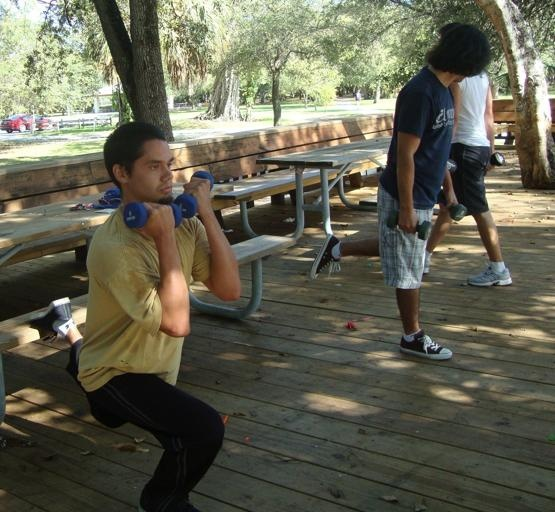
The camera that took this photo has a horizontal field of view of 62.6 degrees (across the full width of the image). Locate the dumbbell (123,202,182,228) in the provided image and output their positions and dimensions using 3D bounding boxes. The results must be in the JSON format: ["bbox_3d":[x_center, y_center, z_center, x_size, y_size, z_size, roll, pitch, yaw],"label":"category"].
[{"bbox_3d":[-0.350,-0.120,1.298,0.091,0.083,0.183,7,19,35],"label":"dumbbell"}]

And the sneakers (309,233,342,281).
[{"bbox_3d":[0.416,0.015,4.107,0.318,0.371,0.110,0,35,-29],"label":"sneakers"}]

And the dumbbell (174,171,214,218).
[{"bbox_3d":[-0.287,-0.185,1.519,0.165,0.174,0.134,4,19,2],"label":"dumbbell"}]

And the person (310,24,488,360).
[{"bbox_3d":[0.909,-0.331,2.819,0.584,2.008,0.579,6,25,34],"label":"person"}]

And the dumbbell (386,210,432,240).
[{"bbox_3d":[0.792,-0.185,2.734,0.220,0.087,0.094,22,14,38],"label":"dumbbell"}]

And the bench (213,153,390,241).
[{"bbox_3d":[0.796,-0.998,7.027,1.703,0.811,4.141,2,12,25],"label":"bench"}]
